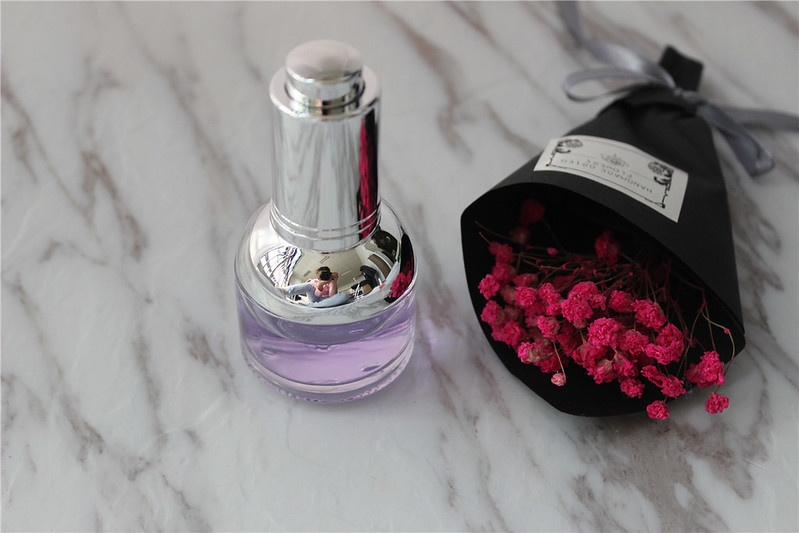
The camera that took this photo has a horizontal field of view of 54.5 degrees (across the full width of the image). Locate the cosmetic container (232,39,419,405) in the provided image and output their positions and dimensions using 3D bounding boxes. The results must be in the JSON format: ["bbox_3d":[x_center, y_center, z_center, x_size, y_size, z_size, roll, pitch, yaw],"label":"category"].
[{"bbox_3d":[-0.082,-0.031,0.862,0.205,0.377,0.208,3,52,-1],"label":"cosmetic container"}]

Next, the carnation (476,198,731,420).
[{"bbox_3d":[0.238,0.047,0.916,0.269,0.134,0.220,3,45,26],"label":"carnation"}]
